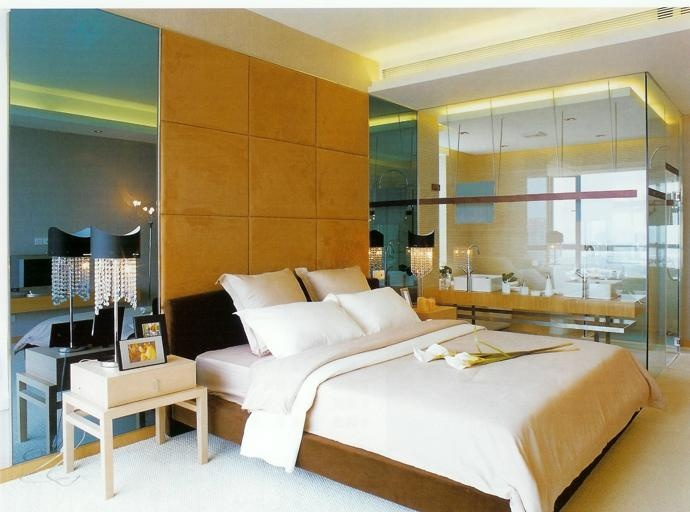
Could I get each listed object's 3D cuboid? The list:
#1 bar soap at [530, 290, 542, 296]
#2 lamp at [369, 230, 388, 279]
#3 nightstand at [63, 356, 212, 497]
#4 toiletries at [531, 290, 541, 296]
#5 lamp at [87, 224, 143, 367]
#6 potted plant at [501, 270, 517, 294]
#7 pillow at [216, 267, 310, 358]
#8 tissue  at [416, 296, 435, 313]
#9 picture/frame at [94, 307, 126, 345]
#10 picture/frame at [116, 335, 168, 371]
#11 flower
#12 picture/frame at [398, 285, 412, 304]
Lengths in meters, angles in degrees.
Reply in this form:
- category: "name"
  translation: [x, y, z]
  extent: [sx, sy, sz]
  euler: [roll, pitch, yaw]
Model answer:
- category: "bar soap"
  translation: [2.218, 0.440, 5.750]
  extent: [0.077, 0.044, 0.074]
  euler: [0, 0, -35]
- category: "lamp"
  translation: [0.387, -0.004, 6.016]
  extent: [0.234, 0.623, 0.116]
  euler: [-2, 9, -16]
- category: "nightstand"
  translation: [-1.518, 1.177, 3.596]
  extent: [0.822, 0.692, 0.891]
  euler: [-3, -2, 28]
- category: "toiletries"
  translation: [2.218, 0.441, 5.750]
  extent: [0.071, 0.041, 0.069]
  euler: [0, -1, -33]
- category: "lamp"
  translation: [-1.645, 0.265, 3.583]
  extent: [0.324, 0.941, 0.640]
  euler: [-4, 9, -27]
- category: "potted plant"
  translation: [1.962, 0.313, 5.956]
  extent: [0.221, 0.295, 0.276]
  euler: [-2, -5, 30]
- category: "pillow"
  translation: [-0.765, 0.474, 4.285]
  extent: [0.190, 0.670, 0.705]
  euler: [-36, -19, 26]
- category: "tissue "
  translation: [0.913, 0.567, 5.598]
  extent: [0.171, 0.119, 0.174]
  euler: [-3, -5, 42]
- category: "picture/frame"
  translation: [-1.818, 0.545, 3.779]
  extent: [0.068, 0.253, 0.292]
  euler: [2, -3, 29]
- category: "picture/frame"
  translation: [-1.416, 0.689, 3.429]
  extent: [0.019, 0.153, 0.271]
  euler: [-17, -13, 42]
- category: "flower"
  translation: [1.043, 0.733, 3.669]
  extent: [1.001, 0.274, 0.365]
  euler: [-1, -1, -23]
- category: "picture/frame"
  translation: [0.664, 0.435, 5.544]
  extent: [0.014, 0.151, 0.199]
  euler: [-22, -37, 13]
